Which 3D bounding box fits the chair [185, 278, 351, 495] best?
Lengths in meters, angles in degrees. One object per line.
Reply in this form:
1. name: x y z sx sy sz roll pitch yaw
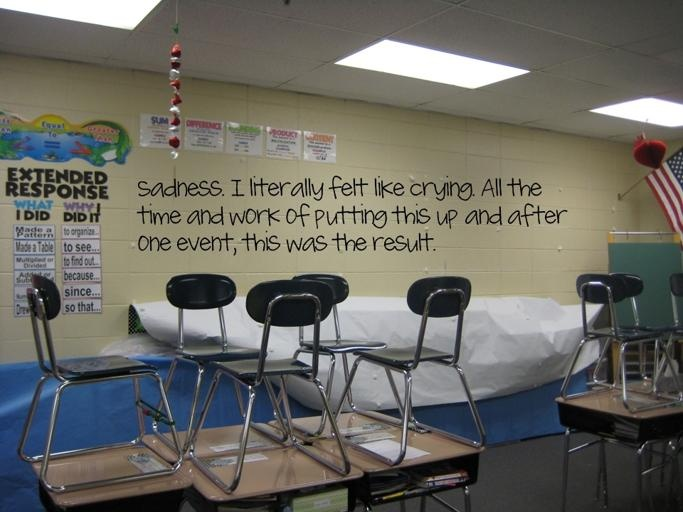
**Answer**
1. chair: -0.368 0.556 2.872 0.867 1.311 0.845 3 -3 -32
